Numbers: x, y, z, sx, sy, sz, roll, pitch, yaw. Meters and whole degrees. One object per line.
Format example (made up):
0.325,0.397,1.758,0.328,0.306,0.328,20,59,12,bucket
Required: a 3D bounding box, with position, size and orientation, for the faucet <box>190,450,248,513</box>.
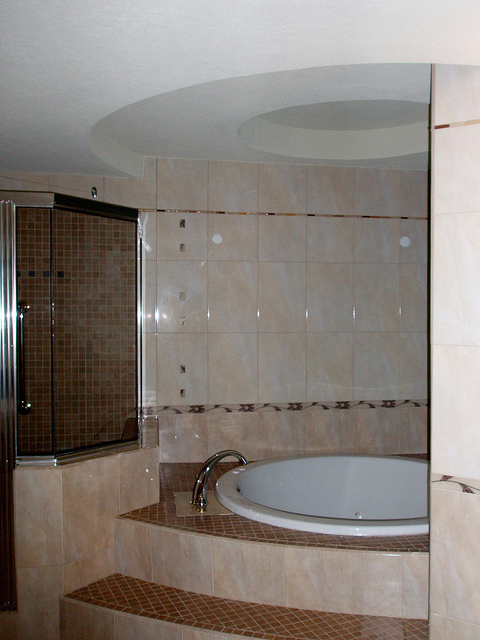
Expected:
-0.097,0.700,2.634,0.205,0.272,0.224,2,6,-23,faucet
